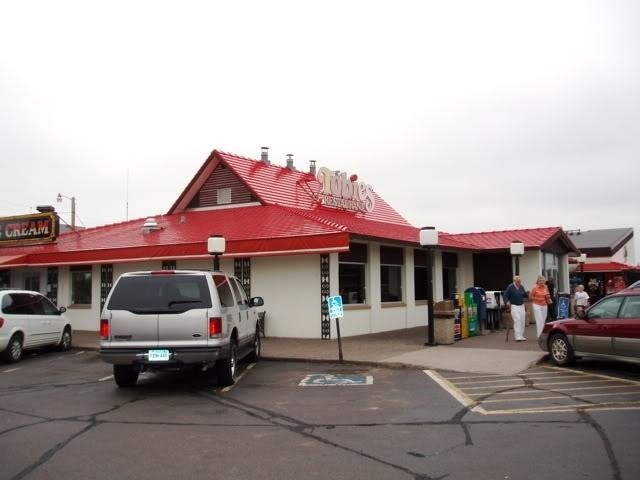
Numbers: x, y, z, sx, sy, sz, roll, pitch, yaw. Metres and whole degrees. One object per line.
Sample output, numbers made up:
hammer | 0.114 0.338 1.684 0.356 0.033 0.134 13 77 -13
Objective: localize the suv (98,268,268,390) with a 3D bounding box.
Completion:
suv | -2.975 1.933 10.952 2.380 2.528 3.132 -2 -4 7
